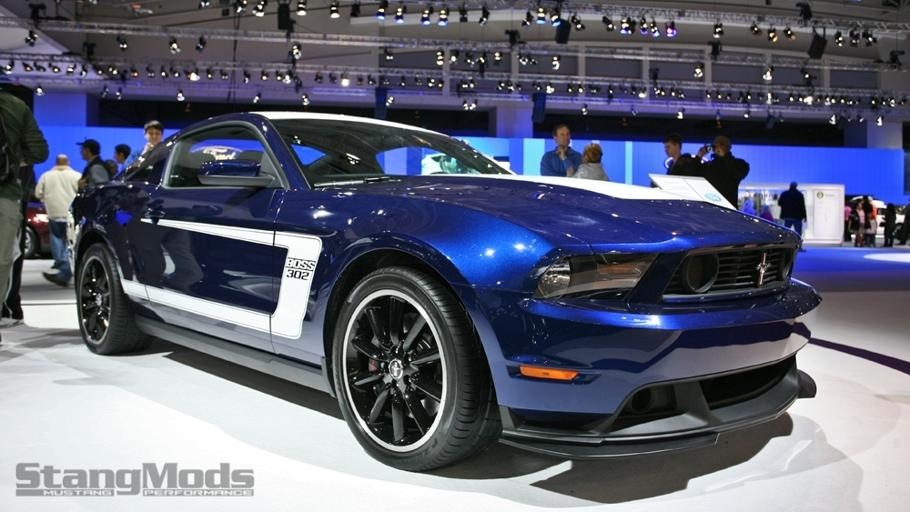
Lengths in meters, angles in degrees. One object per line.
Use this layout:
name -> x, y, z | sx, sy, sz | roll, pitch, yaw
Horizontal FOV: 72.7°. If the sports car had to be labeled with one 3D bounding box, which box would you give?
sports car -> -0.822, 0.211, 4.952 | 5.420, 1.641, 2.644 | 4, 4, 41
